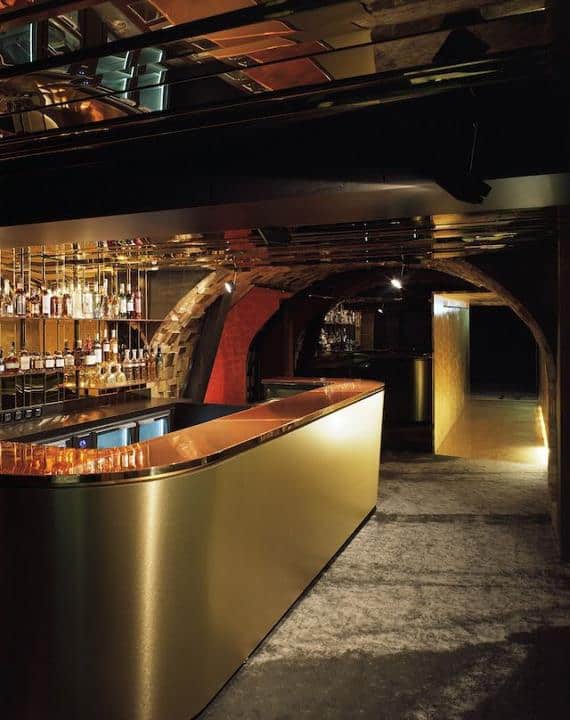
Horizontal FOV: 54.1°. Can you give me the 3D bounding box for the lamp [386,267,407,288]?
[{"bbox_3d":[1.694,-1.245,8.438,0.273,0.491,0.271,3,1,19],"label":"lamp"}]
